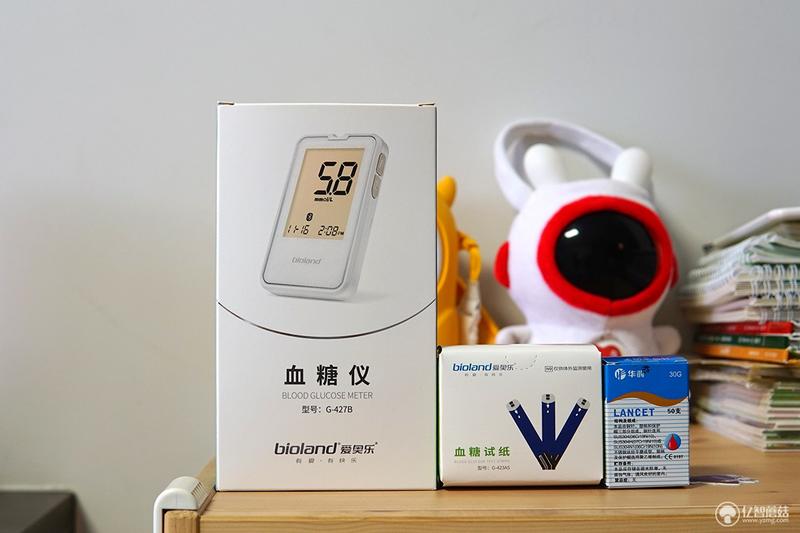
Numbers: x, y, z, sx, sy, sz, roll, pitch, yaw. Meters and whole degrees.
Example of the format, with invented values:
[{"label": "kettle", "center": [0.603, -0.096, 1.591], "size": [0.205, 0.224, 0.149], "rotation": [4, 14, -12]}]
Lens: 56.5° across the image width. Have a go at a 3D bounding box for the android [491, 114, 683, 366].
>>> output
[{"label": "android", "center": [0.433, -0.067, 1.662], "size": [0.404, 0.520, 0.267], "rotation": [5, -4, -25]}]
